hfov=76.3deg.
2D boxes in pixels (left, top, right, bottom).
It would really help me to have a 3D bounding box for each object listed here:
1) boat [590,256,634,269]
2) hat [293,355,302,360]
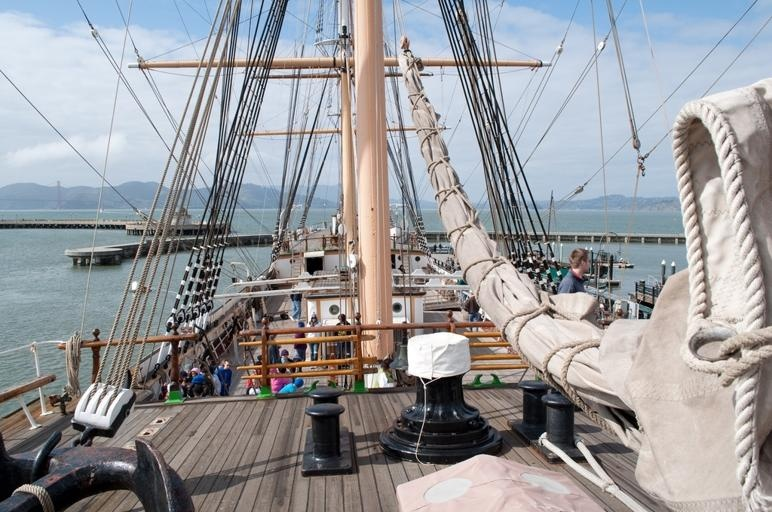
[{"bbox_3d":[19.863,0.577,43.273,3.382,0.820,1.395,1,-2,19],"label":"boat"},{"bbox_3d":[-2.115,2.476,11.847,0.167,0.111,0.237,0,-3,-3],"label":"hat"}]
